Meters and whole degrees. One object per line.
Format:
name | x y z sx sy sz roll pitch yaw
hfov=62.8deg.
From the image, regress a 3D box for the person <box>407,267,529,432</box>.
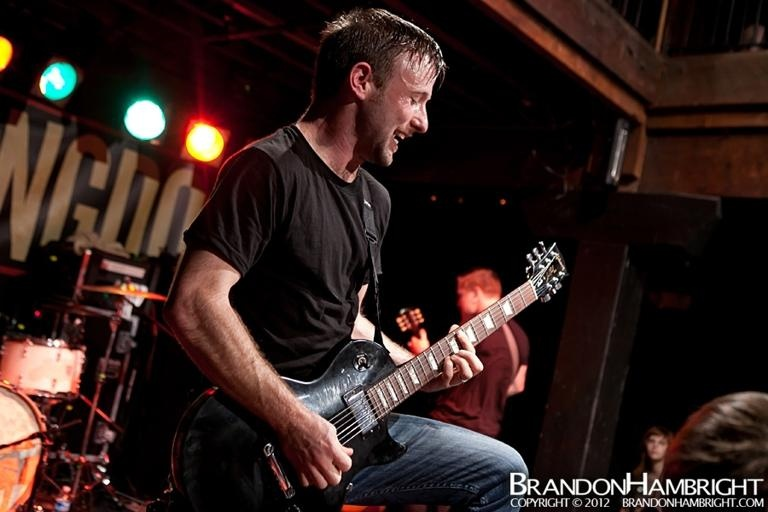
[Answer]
person | 0.795 0.934 6.453 1.317 1.511 0.376 27 -21 -27
